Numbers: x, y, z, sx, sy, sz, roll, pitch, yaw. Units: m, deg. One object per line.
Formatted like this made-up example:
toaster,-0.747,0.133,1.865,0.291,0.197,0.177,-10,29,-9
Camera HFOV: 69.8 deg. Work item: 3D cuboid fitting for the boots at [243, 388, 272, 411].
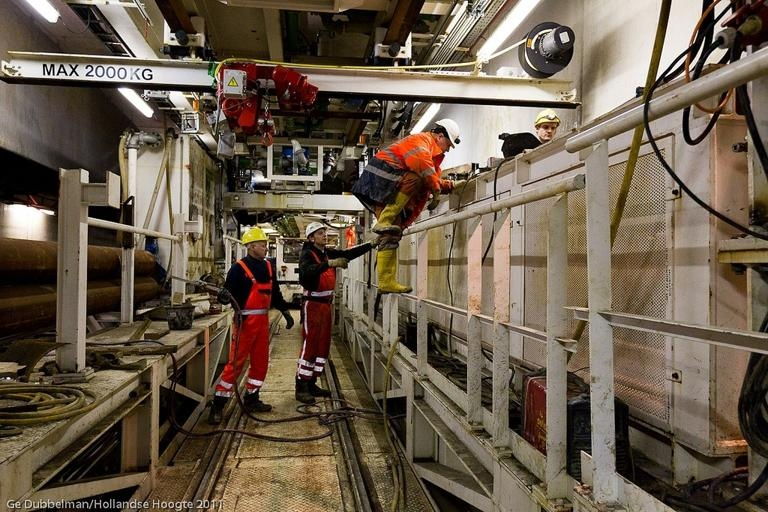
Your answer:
boots,-1.419,1.638,6.327,0.390,0.300,0.168,-1,1,-13

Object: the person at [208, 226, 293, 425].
person,-1.502,0.769,5.999,0.727,2.100,1.256,0,9,-3

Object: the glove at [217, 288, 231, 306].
glove,-1.668,0.414,5.713,0.123,0.072,0.172,19,-18,-26

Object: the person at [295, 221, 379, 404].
person,-0.709,0.729,6.492,0.655,2.195,1.295,-1,9,-15

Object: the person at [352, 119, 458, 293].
person,0.196,-0.439,5.230,0.991,1.727,0.696,0,9,-4

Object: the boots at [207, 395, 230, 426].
boots,-1.798,1.636,5.948,0.199,0.293,0.279,-2,9,-20

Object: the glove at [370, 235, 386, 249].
glove,-0.055,-0.135,5.355,0.237,0.124,0.314,0,2,5

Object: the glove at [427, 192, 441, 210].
glove,0.487,-0.521,5.118,0.128,0.183,0.050,6,-17,45

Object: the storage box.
storage box,1.238,1.176,3.729,0.394,0.680,0.730,1,0,-9

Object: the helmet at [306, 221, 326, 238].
helmet,-0.843,-0.350,6.617,0.222,0.117,0.163,-28,-8,-10

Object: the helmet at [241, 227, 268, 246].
helmet,-1.430,-0.253,6.230,0.232,0.154,0.298,-9,3,24

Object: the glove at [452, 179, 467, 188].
glove,0.720,-0.684,5.245,0.110,0.063,0.190,-2,1,-2
